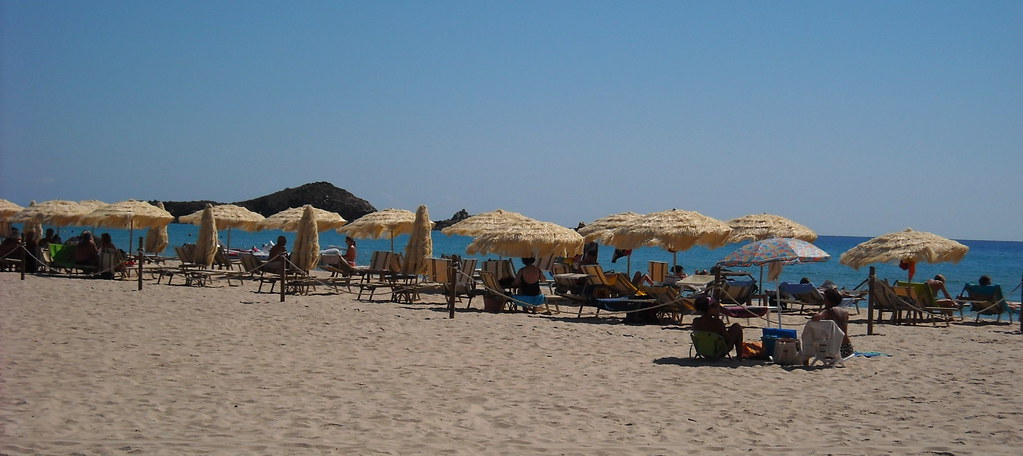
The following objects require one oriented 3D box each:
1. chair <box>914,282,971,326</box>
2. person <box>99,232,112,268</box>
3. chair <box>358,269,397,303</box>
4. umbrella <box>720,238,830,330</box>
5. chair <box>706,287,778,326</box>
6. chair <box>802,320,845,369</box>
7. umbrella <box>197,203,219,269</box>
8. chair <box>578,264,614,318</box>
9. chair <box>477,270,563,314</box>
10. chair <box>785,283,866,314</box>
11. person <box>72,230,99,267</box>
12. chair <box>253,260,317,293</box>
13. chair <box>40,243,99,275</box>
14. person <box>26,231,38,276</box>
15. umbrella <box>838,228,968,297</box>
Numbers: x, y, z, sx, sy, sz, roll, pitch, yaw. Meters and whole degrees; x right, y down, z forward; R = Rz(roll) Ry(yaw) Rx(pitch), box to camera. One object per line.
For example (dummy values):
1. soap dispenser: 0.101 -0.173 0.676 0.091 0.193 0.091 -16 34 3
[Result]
1. chair: 12.684 2.137 26.751 2.080 0.976 1.375 6 -8 -35
2. person: -13.014 0.782 28.827 0.459 1.100 1.041 2 -6 -23
3. chair: -4.333 1.871 28.599 1.205 1.364 1.181 -1 -13 11
4. umbrella: 8.153 1.799 27.795 3.836 1.675 3.112 -2 -4 -7
5. chair: 6.314 2.153 24.222 2.321 1.074 1.391 -2 7 -2
6. chair: 7.275 2.712 20.865 1.292 1.198 1.167 -1 -1 2
7. umbrella: -10.225 0.281 30.161 0.732 2.158 1.056 2 -6 -17
8. chair: 2.405 1.821 25.917 0.960 1.488 2.286 0 -5 4
9. chair: -0.019 1.969 25.858 2.276 0.796 1.115 0 -1 1
10. chair: 9.260 2.121 27.157 3.336 0.811 1.457 1 1 -26
11. person: -13.494 0.729 28.501 0.627 1.160 0.824 6 -8 -45
12. chair: -6.988 1.567 27.837 1.739 1.036 3.452 1 -5 -14
13. chair: -13.987 0.995 28.604 1.862 0.479 1.173 4 -6 -1
14. person: -15.695 0.843 29.267 0.473 1.328 1.502 3 -6 -27
15. umbrella: 16.141 1.703 36.786 4.860 1.496 3.994 -3 -3 6
